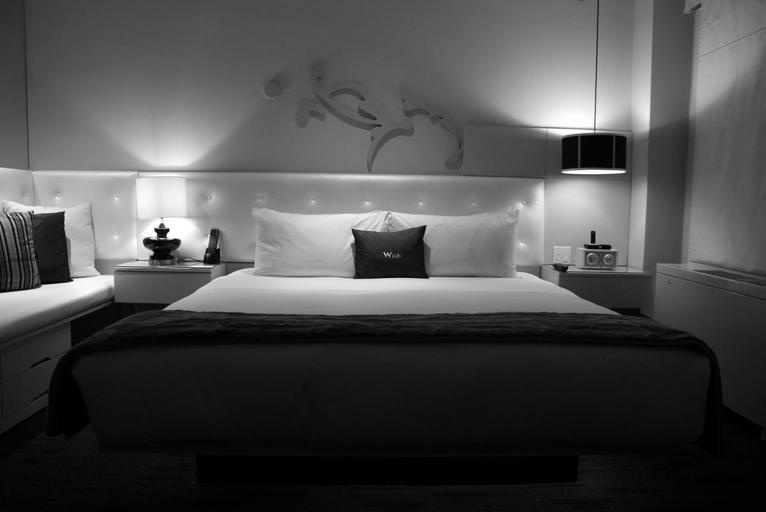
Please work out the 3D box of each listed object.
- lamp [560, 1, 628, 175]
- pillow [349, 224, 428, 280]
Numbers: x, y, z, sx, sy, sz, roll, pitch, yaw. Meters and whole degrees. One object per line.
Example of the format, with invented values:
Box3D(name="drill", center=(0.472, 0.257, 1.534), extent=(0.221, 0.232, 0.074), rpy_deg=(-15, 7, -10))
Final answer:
Box3D(name="lamp", center=(1.871, -1.435, 4.655), extent=(0.565, 1.453, 0.607), rpy_deg=(6, 14, 24))
Box3D(name="pillow", center=(0.041, -0.016, 4.296), extent=(0.438, 0.297, 0.146), rpy_deg=(-1, -33, -3))
